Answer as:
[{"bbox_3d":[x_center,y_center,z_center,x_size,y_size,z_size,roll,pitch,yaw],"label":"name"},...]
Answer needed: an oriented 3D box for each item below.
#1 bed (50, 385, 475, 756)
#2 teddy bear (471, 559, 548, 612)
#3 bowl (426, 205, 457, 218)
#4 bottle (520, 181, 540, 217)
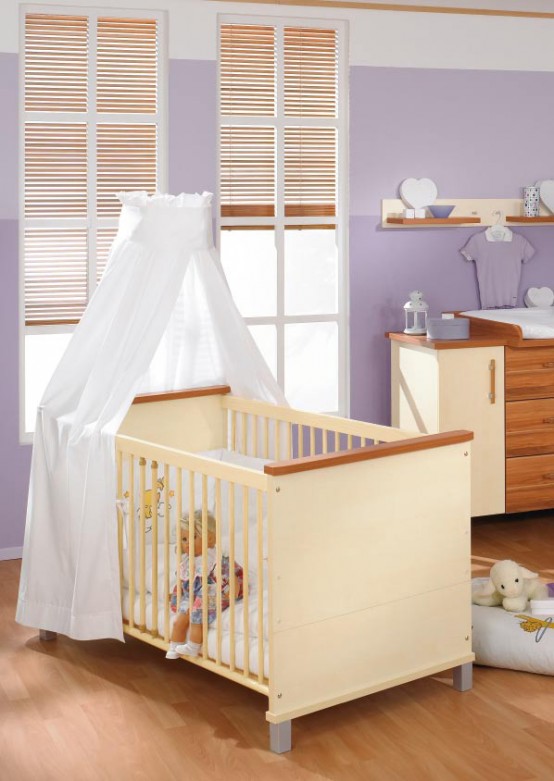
[{"bbox_3d":[-0.061,0.308,2.015,0.678,0.723,1.004,-4,7,-33],"label":"bed"},{"bbox_3d":[0.683,0.551,2.106,0.208,0.133,0.191,0,-1,-12],"label":"teddy bear"},{"bbox_3d":[0.791,-0.859,3.543,0.140,0.070,0.110,-1,-1,0],"label":"bowl"},{"bbox_3d":[1.268,-0.955,3.686,0.075,0.186,0.088,0,-1,-11],"label":"bottle"}]
